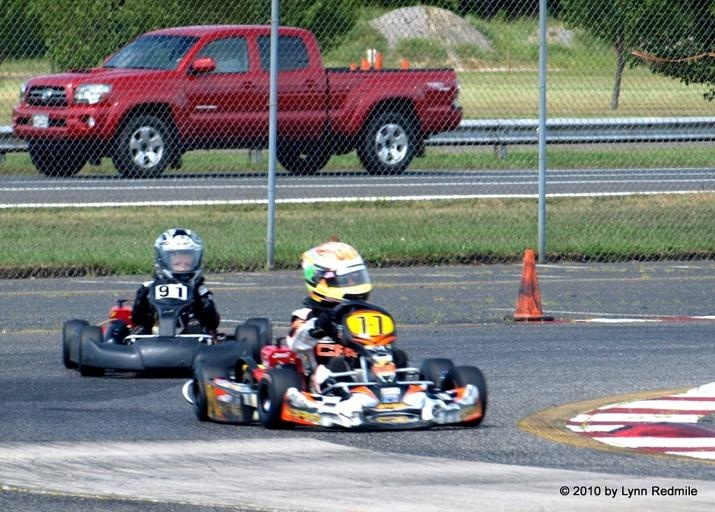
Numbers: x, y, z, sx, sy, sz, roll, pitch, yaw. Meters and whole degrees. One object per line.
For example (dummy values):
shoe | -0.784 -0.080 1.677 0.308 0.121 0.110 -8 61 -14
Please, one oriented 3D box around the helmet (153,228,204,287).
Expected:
helmet | -1.561 -0.033 14.350 0.474 0.481 0.610 0 4 -18

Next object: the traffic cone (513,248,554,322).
traffic cone | 1.701 0.254 15.849 0.394 0.706 0.708 3 18 6

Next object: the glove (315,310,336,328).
glove | -0.246 0.483 12.569 0.108 0.143 0.123 3 2 -1

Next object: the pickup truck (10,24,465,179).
pickup truck | -1.450 -2.300 21.196 5.558 1.825 2.314 2 1 -25

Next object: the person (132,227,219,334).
person | -1.574 0.228 14.166 0.725 0.840 0.506 -1 18 -7

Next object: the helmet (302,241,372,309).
helmet | -0.158 0.116 12.834 0.614 0.469 0.457 14 18 43
